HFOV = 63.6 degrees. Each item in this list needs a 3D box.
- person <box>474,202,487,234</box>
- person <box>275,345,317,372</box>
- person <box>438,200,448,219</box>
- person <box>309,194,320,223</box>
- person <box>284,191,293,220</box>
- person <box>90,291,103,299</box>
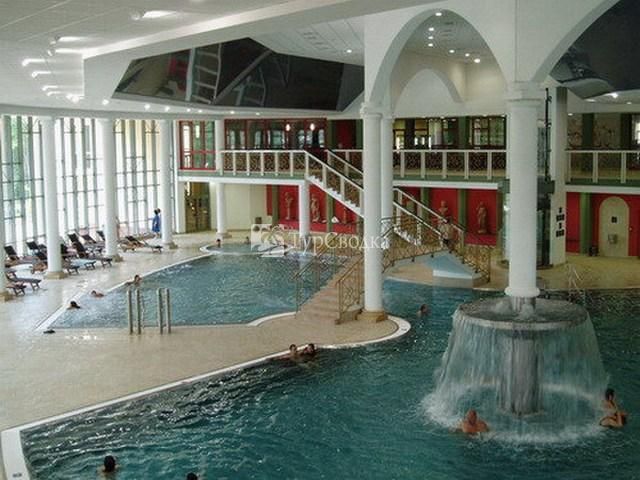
[{"bbox_3d":[8.266,-1.120,26.702,0.524,1.620,0.389,1,12,15],"label":"person"},{"bbox_3d":[-0.530,2.827,12.846,1.084,0.329,1.169,1,10,14],"label":"person"},{"bbox_3d":[6.543,-1.681,27.807,0.447,0.866,0.456,-2,11,-2],"label":"person"},{"bbox_3d":[-0.348,-1.933,32.324,0.393,1.670,0.730,-11,15,-37],"label":"person"},{"bbox_3d":[-2.039,-2.175,33.171,0.454,1.880,0.764,-7,13,-20],"label":"person"},{"bbox_3d":[-8.339,1.985,19.421,0.436,0.188,0.809,-7,11,-28],"label":"person"}]
